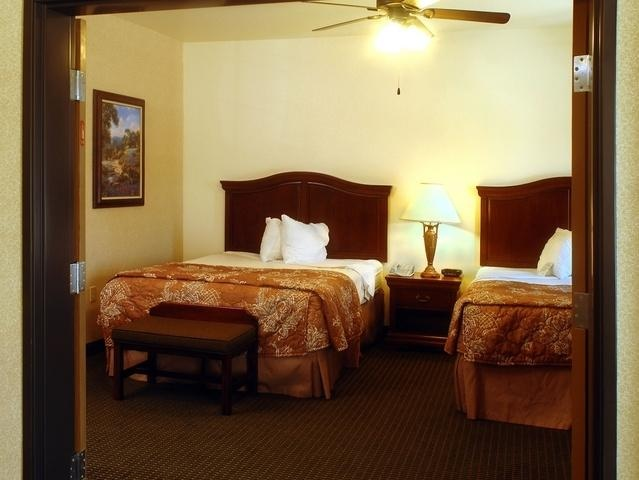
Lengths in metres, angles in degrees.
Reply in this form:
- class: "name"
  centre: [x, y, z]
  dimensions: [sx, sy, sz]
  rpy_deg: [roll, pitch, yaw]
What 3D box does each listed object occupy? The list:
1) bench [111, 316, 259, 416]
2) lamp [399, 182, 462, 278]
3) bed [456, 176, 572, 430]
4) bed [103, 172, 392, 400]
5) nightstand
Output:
- class: "bench"
  centre: [-0.999, 0.903, 3.842]
  dimensions: [1.021, 0.564, 0.438]
  rpy_deg: [2, 7, 17]
- class: "lamp"
  centre: [1.109, -0.055, 5.125]
  dimensions: [0.518, 0.906, 0.517]
  rpy_deg: [6, -7, -28]
- class: "bed"
  centre: [1.706, 0.343, 4.272]
  dimensions: [1.035, 1.569, 1.935]
  rpy_deg: [0, 6, 24]
- class: "bed"
  centre: [-0.420, 0.328, 4.763]
  dimensions: [1.943, 1.736, 2.214]
  rpy_deg: [2, 3, 22]
- class: "nightstand"
  centre: [1.050, 0.678, 5.190]
  dimensions: [0.700, 0.770, 0.625]
  rpy_deg: [2, 13, 10]
